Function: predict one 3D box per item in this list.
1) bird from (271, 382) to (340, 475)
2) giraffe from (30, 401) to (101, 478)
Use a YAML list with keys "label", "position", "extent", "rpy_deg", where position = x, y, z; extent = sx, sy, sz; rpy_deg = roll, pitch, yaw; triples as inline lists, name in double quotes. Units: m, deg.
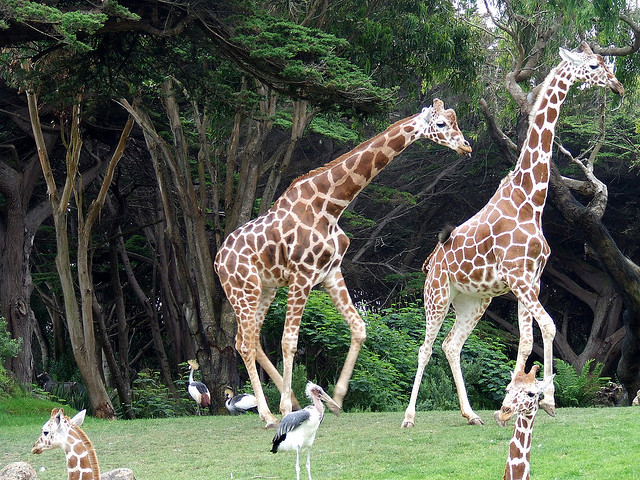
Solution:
- label: "bird"
  position: [-0.182, 1.803, 7.143]
  extent: [0.621, 0.649, 0.311]
  rpy_deg: [0, -6, -17]
- label: "giraffe"
  position: [-2.324, 1.851, 6.397]
  extent: [0.604, 0.621, 0.214]
  rpy_deg: [-3, -6, 13]
